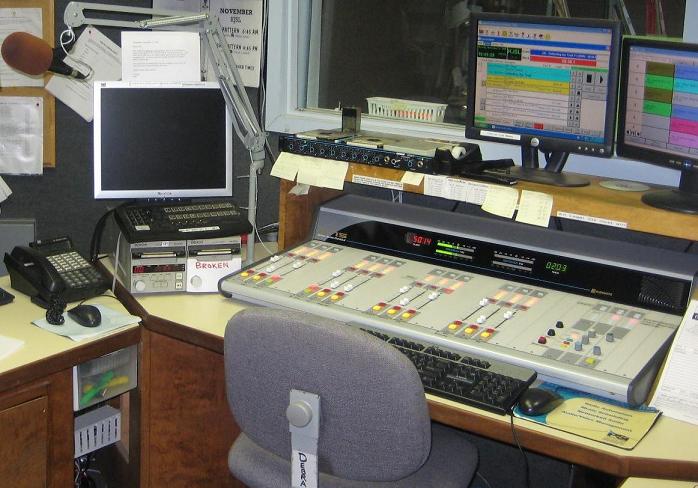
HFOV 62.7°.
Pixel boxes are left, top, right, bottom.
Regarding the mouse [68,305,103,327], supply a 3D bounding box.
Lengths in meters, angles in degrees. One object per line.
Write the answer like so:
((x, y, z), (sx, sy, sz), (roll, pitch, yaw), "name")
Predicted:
((-0.892, 0.236, 1.937), (0.132, 0.060, 0.060), (15, 26, 38), "mouse")

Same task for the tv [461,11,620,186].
((0.623, -0.530, 1.880), (0.488, 0.443, 0.042), (11, 24, 30), "tv")

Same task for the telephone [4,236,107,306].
((-1.062, 0.091, 2.078), (0.284, 0.138, 0.284), (32, 32, 23), "telephone")

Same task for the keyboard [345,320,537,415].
((0.282, 0.365, 1.628), (0.454, 0.095, 0.179), (7, 21, 22), "keyboard")

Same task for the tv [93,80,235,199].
((-0.712, -0.399, 2.209), (0.577, 0.439, 0.028), (2, 4, 12), "tv")

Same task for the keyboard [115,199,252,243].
((-0.630, -0.098, 2.171), (0.469, 0.117, 0.298), (-9, 21, -20), "keyboard")

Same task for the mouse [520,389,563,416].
((0.511, 0.419, 1.535), (0.124, 0.050, 0.067), (-20, 27, -41), "mouse")
